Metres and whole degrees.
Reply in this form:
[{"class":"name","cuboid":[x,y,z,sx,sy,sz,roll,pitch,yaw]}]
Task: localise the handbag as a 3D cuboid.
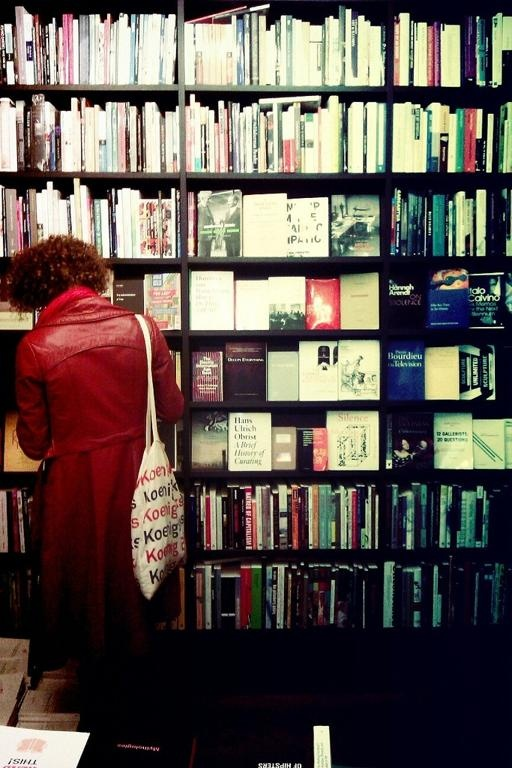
[{"class":"handbag","cuboid":[-0.279,0.391,2.449,0.068,0.466,0.245,1,4,22]}]
